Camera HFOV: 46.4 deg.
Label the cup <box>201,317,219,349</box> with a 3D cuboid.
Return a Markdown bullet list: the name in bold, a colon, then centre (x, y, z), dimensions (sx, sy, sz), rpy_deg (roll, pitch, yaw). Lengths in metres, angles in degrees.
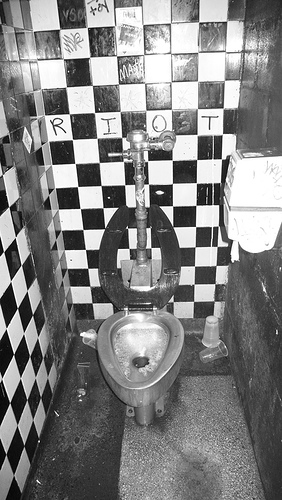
- **cup**: centre (0.378, 0.450, 1.784), dimensions (0.085, 0.141, 0.086), rpy_deg (0, 23, 0)

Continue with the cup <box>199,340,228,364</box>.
- **cup**: centre (0.383, 0.541, 1.758), dimensions (0.160, 0.050, 0.096), rpy_deg (-9, 18, -17)

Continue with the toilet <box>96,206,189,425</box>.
- **toilet**: centre (0.003, 0.330, 1.299), dimensions (0.255, 0.872, 0.411), rpy_deg (-2, 21, -5)

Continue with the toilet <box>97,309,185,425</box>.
- **toilet**: centre (0.002, 0.533, 1.379), dimensions (0.263, 0.439, 0.440), rpy_deg (0, 32, 5)
